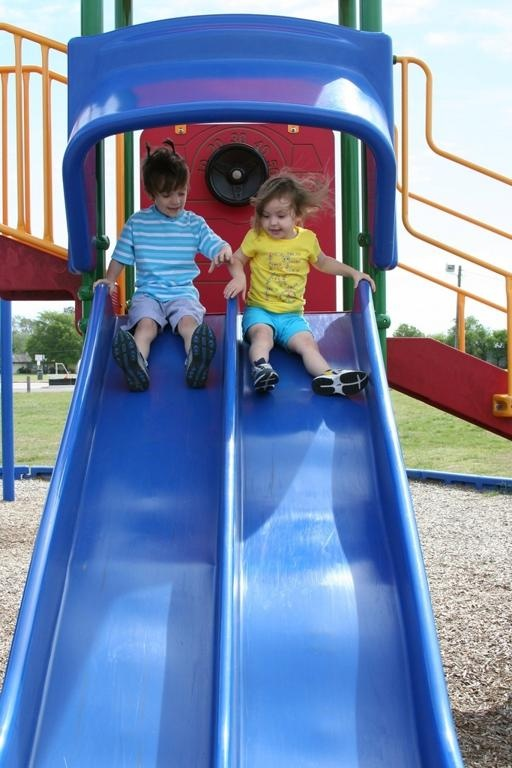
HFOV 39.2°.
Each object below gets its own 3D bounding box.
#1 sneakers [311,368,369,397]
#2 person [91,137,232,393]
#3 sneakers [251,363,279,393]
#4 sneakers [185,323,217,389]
[{"bbox_3d":[0.273,0.006,2.347,0.160,0.094,0.083,1,11,11],"label":"sneakers"},{"bbox_3d":[-0.328,-0.486,2.676,0.418,0.828,0.869,1,17,-9],"label":"person"},{"bbox_3d":[0.034,-0.015,2.402,0.052,0.062,0.127,-10,-33,-8],"label":"sneakers"},{"bbox_3d":[-0.185,-0.082,2.373,0.072,0.245,0.100,5,12,-13],"label":"sneakers"}]
